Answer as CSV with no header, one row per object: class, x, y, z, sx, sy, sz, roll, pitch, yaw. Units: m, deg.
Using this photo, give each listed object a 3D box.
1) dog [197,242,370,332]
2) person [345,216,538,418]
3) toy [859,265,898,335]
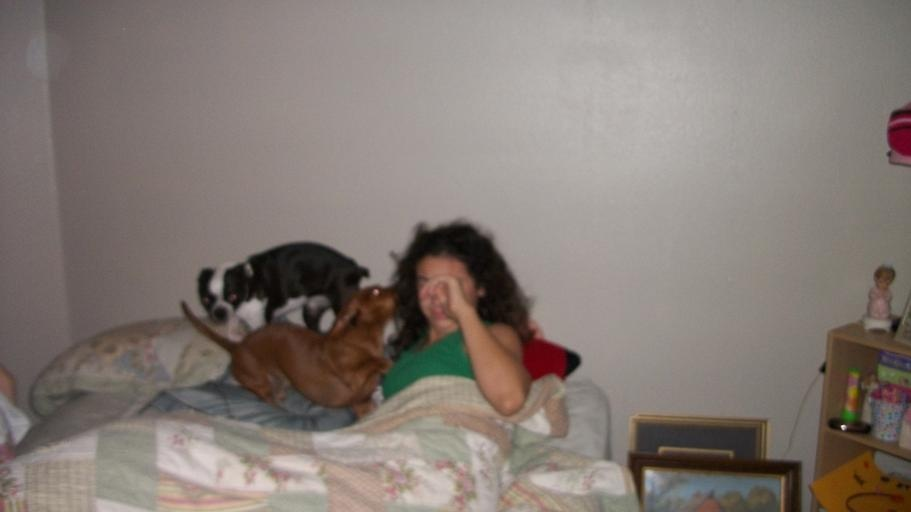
dog,-0.799,0.175,3.465,0.765,0.422,0.220,-6,4,-35
person,-0.021,0.288,3.303,0.923,0.819,0.533,-7,-20,35
toy,1.956,0.191,3.294,0.164,0.300,0.096,1,1,-21
